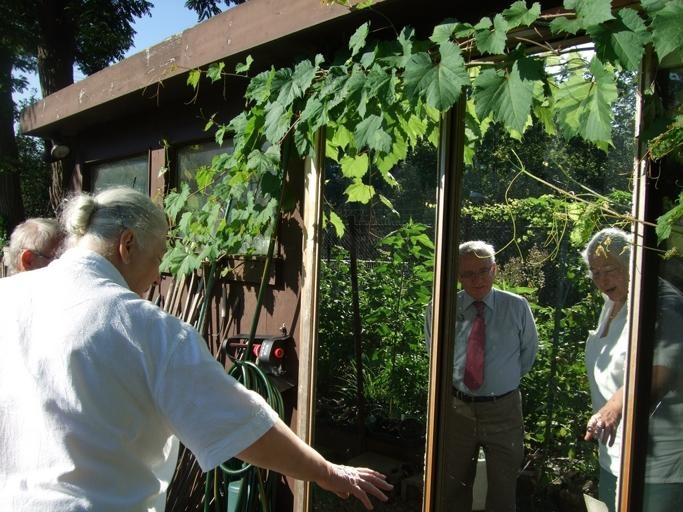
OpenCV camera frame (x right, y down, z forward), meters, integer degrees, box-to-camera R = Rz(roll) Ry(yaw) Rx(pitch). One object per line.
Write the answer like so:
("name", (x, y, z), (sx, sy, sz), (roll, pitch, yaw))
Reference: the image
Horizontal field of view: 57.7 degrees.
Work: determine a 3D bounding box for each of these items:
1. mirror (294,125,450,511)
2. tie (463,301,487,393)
("mirror", (0.182, 0.230, 3.385), (0.633, 2.387, 0.657), (7, 10, 35))
("tie", (0.613, 0.408, 2.860), (0.109, 0.641, 0.052), (-7, 32, 1))
